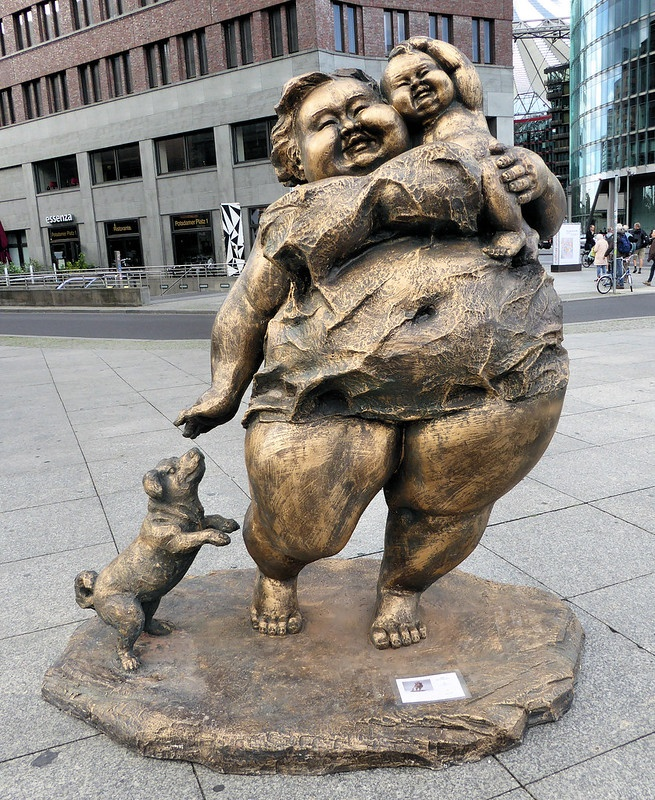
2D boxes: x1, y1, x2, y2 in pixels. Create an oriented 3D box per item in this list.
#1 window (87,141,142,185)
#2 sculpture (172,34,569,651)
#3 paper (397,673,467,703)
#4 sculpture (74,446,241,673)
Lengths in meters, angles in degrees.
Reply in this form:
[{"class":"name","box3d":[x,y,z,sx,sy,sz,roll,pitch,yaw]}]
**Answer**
[{"class":"window","box3d":[-7.768,-8.780,29.413,2.019,1.077,0.194,-1,9,26]},{"class":"sculpture","box3d":[0.119,-0.056,2.014,0.930,1.638,0.452,1,14,16]},{"class":"paper","box3d":[0.274,0.765,2.114,0.174,0.017,0.108,-4,12,-7]},{"class":"sculpture","box3d":[-0.514,0.468,2.338,0.540,0.588,0.283,-5,8,2]}]
